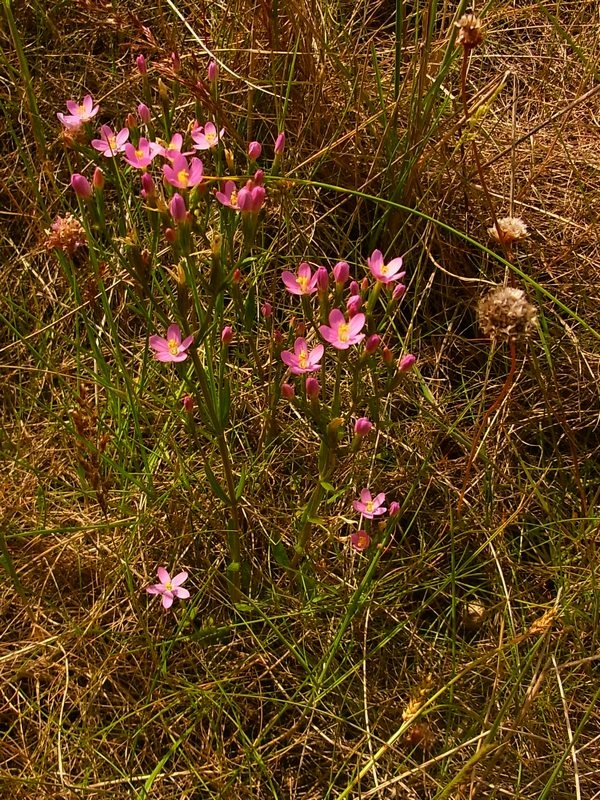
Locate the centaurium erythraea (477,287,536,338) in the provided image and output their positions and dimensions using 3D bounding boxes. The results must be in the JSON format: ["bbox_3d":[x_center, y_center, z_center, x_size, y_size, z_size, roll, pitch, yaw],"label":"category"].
[{"bbox_3d":[0.497,-0.214,1.735,0.125,0.133,0.131,5,13,14],"label":"centaurium erythraea"}]
